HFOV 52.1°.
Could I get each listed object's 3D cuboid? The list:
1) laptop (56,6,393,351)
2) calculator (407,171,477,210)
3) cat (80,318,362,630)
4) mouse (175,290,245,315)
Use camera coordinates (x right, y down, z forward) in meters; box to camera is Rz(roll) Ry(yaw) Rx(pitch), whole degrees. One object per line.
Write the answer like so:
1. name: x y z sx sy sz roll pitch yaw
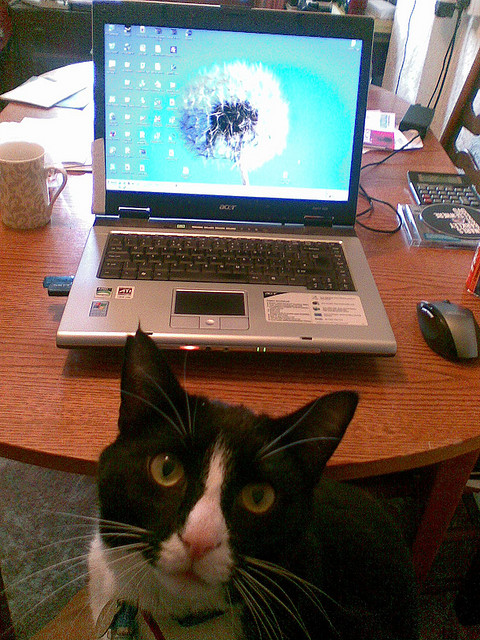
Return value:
1. laptop: -0.020 -0.090 0.667 0.388 0.344 0.383 2 44 -5
2. calculator: 0.338 -0.215 0.818 0.101 0.024 0.125 7 45 2
3. cat: -0.012 0.137 0.386 0.198 0.123 0.173 9 44 4
4. mouse: -0.032 -0.017 0.518 0.045 0.011 0.033 2 37 -1
